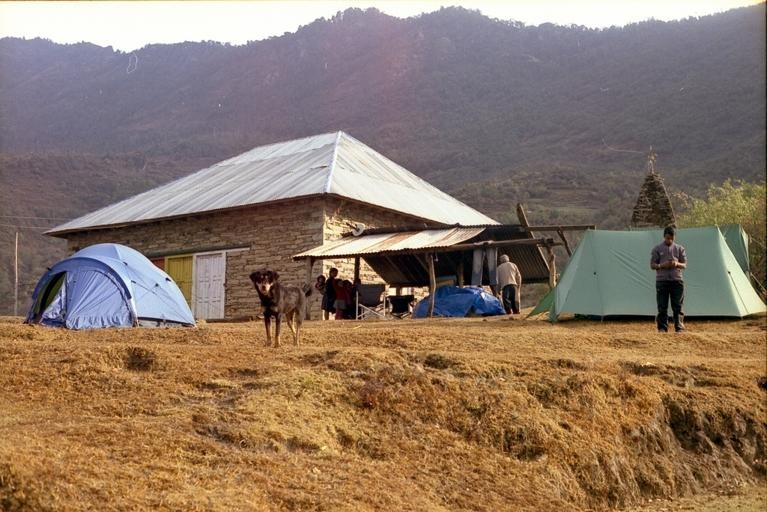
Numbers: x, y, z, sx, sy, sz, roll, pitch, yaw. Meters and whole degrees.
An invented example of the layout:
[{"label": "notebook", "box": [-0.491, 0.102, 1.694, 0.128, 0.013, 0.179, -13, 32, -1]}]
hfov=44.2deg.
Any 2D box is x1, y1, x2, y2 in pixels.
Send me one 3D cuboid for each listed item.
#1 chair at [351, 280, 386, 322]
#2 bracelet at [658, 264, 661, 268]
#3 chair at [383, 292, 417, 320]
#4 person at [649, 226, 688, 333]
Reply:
[{"label": "chair", "box": [-0.545, 1.780, 36.872, 1.094, 1.459, 1.977, -1, 2, 2]}, {"label": "bracelet", "box": [8.942, 0.333, 30.566, 0.034, 0.128, 0.121, 3, 6, 5]}, {"label": "chair", "box": [0.665, 2.075, 37.242, 0.961, 0.976, 1.314, -1, 20, 4]}, {"label": "person", "box": [9.349, 0.796, 30.833, 1.063, 3.399, 1.251, -4, -6, 21]}]
